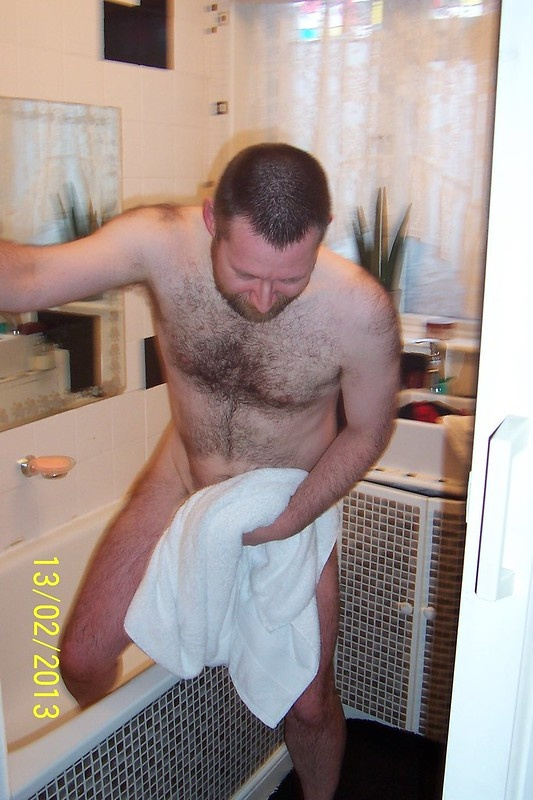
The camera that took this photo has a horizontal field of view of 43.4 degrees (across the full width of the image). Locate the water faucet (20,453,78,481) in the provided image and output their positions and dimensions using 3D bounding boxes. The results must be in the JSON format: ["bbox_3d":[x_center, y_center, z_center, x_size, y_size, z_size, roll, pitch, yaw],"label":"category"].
[{"bbox_3d":[-0.511,0.151,1.586,0.099,0.040,0.073,7,10,30],"label":"water faucet"}]

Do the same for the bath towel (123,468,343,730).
[{"bbox_3d":[-0.032,0.305,1.143,0.340,0.146,0.394,24,65,14],"label":"bath towel"}]

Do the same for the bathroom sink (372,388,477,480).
[{"bbox_3d":[0.323,0.095,1.368,0.213,0.134,0.204,11,22,31],"label":"bathroom sink"}]
